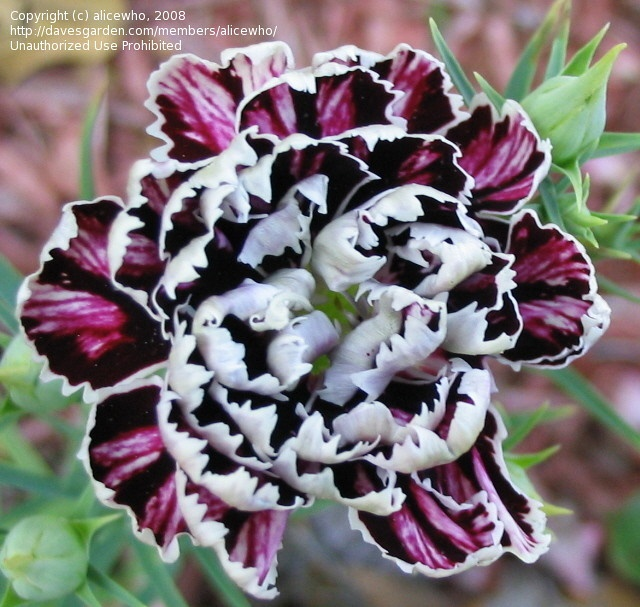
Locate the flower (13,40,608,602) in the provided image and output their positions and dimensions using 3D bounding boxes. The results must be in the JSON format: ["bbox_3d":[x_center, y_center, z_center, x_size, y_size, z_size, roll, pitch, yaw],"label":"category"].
[{"bbox_3d":[-0.041,-0.037,1.349,1.030,0.314,0.651,-4,96,-4],"label":"flower"}]
